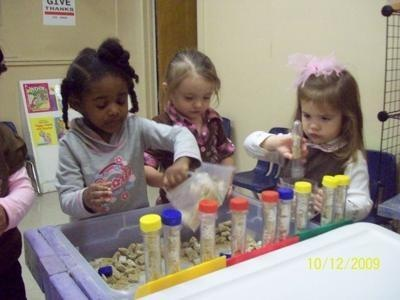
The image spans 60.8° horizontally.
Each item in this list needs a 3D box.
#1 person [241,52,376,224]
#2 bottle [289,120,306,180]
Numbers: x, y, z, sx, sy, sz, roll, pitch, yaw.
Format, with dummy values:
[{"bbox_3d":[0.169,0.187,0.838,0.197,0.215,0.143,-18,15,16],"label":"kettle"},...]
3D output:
[{"bbox_3d":[0.479,0.058,1.437,0.408,0.856,0.516,-13,20,-36],"label":"person"},{"bbox_3d":[0.338,-0.010,1.187,0.043,0.189,0.190,-1,12,17],"label":"bottle"}]
